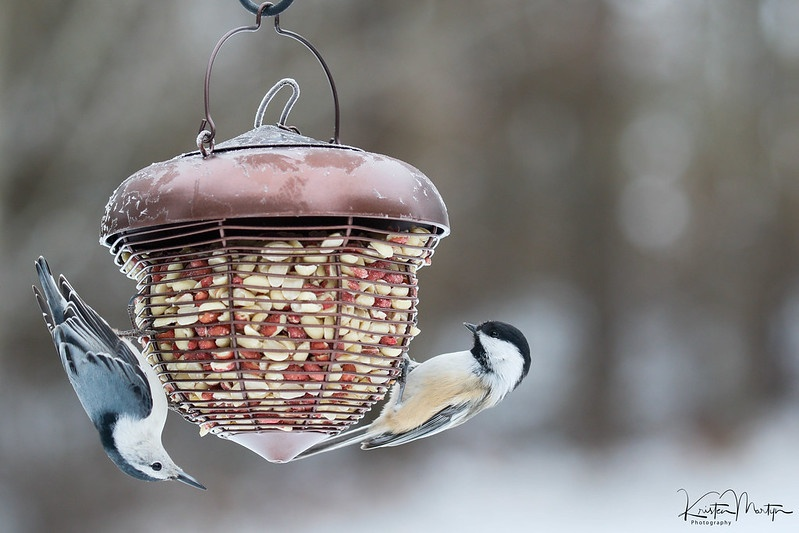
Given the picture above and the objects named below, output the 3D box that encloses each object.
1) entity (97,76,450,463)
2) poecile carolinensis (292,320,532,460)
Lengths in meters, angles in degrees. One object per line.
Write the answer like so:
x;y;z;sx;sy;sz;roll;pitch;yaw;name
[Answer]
-0.372;0.075;5.107;1.009;1.318;1.124;-2;-4;9;entity
0.032;0.473;5.297;0.971;0.513;0.301;-2;0;9;poecile carolinensis
